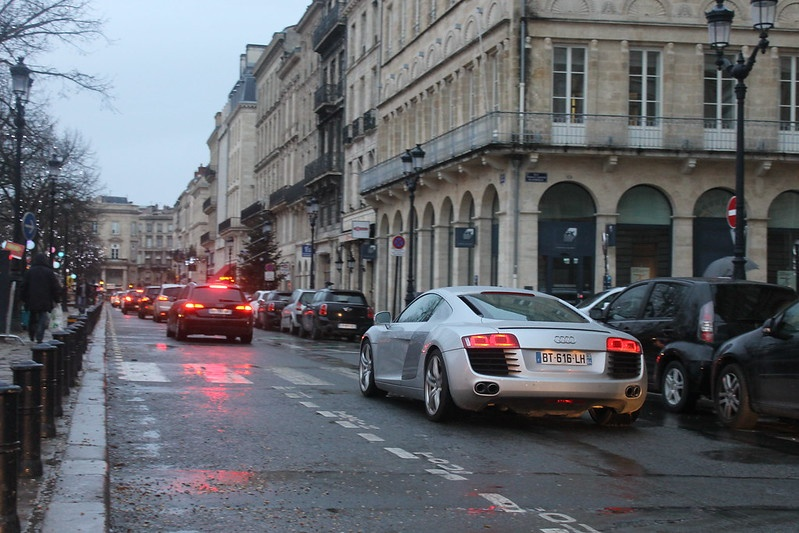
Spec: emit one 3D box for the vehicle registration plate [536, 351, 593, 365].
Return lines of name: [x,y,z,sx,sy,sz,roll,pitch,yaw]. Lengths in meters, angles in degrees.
vehicle registration plate: [2.053,1.148,11.279,0.743,0.177,0.027,3,-5,-17]

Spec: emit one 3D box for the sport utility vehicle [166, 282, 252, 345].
sport utility vehicle: [-5.939,1.532,28.279,2.826,1.700,5.631,2,0,-15]

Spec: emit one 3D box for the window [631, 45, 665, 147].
window: [9.169,-6.312,33.575,1.231,3.682,0.427,2,-5,13]

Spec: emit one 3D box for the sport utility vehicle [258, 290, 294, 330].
sport utility vehicle: [-5.994,2.030,43.205,1.465,1.018,2.725,1,3,-10]

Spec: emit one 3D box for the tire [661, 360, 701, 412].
tire: [4.365,1.830,13.965,0.352,0.848,0.976,3,-5,-17]

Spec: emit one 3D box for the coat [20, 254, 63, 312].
coat: [-9.028,0.425,22.786,0.857,1.482,0.876,5,-5,-19]

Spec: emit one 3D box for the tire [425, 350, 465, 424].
tire: [0.633,1.599,12.106,0.399,0.991,1.135,5,-9,-11]

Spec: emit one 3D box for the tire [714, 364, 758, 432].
tire: [4.566,1.769,12.199,0.398,0.931,1.067,4,-3,-13]

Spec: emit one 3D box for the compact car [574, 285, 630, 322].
compact car: [4.196,0.697,17.186,1.559,0.574,0.798,2,-3,-3]

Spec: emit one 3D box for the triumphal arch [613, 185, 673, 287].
triumphal arch: [9.166,-1.166,33.822,2.063,3.734,0.859,2,-5,9]

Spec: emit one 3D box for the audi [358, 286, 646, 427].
audi: [1.194,1.176,12.431,2.087,1.824,3.427,6,-5,-37]
